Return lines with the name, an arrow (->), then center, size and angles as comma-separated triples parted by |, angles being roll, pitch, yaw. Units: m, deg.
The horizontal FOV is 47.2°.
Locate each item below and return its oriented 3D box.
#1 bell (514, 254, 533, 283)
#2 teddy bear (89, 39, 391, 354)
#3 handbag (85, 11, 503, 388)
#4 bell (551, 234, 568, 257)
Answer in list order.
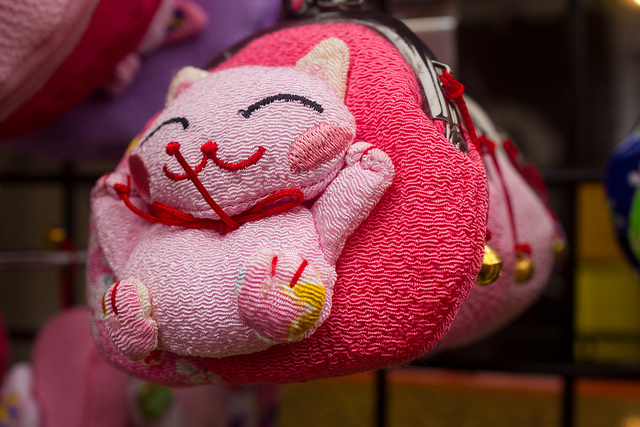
bell -> 0.363, 0.096, 1.307 | 0.034, 0.015, 0.048 | -4, 81, 1
teddy bear -> -0.137, -0.029, 1.166 | 0.494, 0.150, 0.486 | -3, 81, 1
handbag -> -0.058, -0.012, 1.254 | 0.708, 0.354, 0.627 | -4, 71, 25
bell -> 0.435, 0.058, 1.331 | 0.034, 0.040, 0.019 | 9, 30, 40
